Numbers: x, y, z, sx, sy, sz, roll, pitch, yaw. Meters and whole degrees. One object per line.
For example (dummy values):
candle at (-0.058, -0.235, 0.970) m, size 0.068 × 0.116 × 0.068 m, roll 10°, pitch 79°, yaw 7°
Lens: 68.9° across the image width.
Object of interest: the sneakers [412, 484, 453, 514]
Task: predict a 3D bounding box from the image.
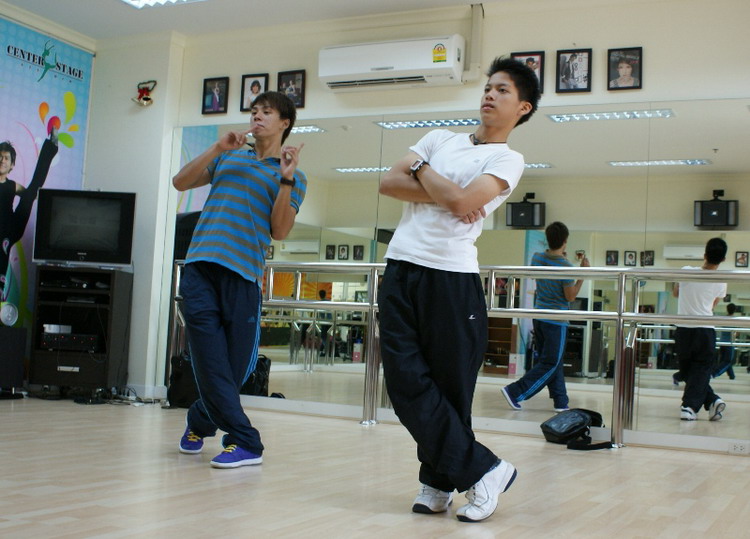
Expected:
sneakers at (0.207, 0.787, 1.910) m, size 0.066 × 0.079 × 0.188 m, roll 2°, pitch -9°, yaw 28°

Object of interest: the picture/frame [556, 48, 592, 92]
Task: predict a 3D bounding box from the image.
picture/frame at (1.545, -1.524, 4.208) m, size 0.348 × 0.394 × 0.018 m, roll 2°, pitch -2°, yaw 23°

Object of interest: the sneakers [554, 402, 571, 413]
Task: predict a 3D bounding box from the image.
sneakers at (1.318, 0.980, 3.898) m, size 0.048 × 0.060 × 0.141 m, roll 4°, pitch -6°, yaw -41°

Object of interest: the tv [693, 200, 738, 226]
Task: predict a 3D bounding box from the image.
tv at (2.377, -0.381, 3.788) m, size 0.314 × 0.224 × 0.175 m, roll 0°, pitch -3°, yaw 27°

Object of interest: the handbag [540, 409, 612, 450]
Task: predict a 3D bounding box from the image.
handbag at (1.263, 1.035, 3.555) m, size 0.245 × 0.117 × 0.329 m, roll -5°, pitch 3°, yaw -15°

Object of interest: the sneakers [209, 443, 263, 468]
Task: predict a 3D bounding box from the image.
sneakers at (-0.626, 0.837, 2.490) m, size 0.238 × 0.108 × 0.087 m, roll 8°, pitch -10°, yaw -32°

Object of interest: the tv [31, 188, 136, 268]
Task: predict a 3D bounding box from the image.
tv at (-2.610, -0.361, 4.882) m, size 0.677 × 0.598 × 0.365 m, roll 2°, pitch -10°, yaw -2°

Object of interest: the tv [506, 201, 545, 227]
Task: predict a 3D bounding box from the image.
tv at (1.152, -0.400, 4.133) m, size 0.328 × 0.256 × 0.179 m, roll 0°, pitch -4°, yaw 16°

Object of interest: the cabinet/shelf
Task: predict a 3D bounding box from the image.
cabinet/shelf at (-2.666, 0.518, 4.986) m, size 0.689 × 1.010 × 0.562 m, roll 4°, pitch 1°, yaw -5°

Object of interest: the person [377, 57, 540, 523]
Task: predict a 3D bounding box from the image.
person at (0.263, 0.166, 1.821) m, size 0.472 × 1.333 × 0.302 m, roll 4°, pitch -3°, yaw -32°

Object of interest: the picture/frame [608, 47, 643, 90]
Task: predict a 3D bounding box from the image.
picture/frame at (1.890, -1.495, 4.097) m, size 0.342 × 0.406 × 0.022 m, roll 1°, pitch -5°, yaw 14°

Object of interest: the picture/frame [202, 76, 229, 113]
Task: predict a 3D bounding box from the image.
picture/frame at (-1.513, -1.652, 5.199) m, size 0.346 × 0.392 × 0.030 m, roll 6°, pitch 2°, yaw 22°

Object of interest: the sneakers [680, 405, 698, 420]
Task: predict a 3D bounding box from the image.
sneakers at (2.096, 0.961, 3.638) m, size 0.052 × 0.073 × 0.111 m, roll -1°, pitch -8°, yaw 37°

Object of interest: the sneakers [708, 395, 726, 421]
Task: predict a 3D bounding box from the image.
sneakers at (2.254, 0.914, 3.609) m, size 0.074 × 0.169 × 0.078 m, roll 10°, pitch -11°, yaw -4°

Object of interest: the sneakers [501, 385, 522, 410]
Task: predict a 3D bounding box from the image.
sneakers at (0.998, 0.950, 4.010) m, size 0.087 × 0.202 × 0.074 m, roll -24°, pitch -10°, yaw -5°

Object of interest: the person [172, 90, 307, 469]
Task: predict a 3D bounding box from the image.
person at (-0.674, 0.013, 2.618) m, size 0.630 × 1.810 × 0.393 m, roll 2°, pitch -3°, yaw -6°
